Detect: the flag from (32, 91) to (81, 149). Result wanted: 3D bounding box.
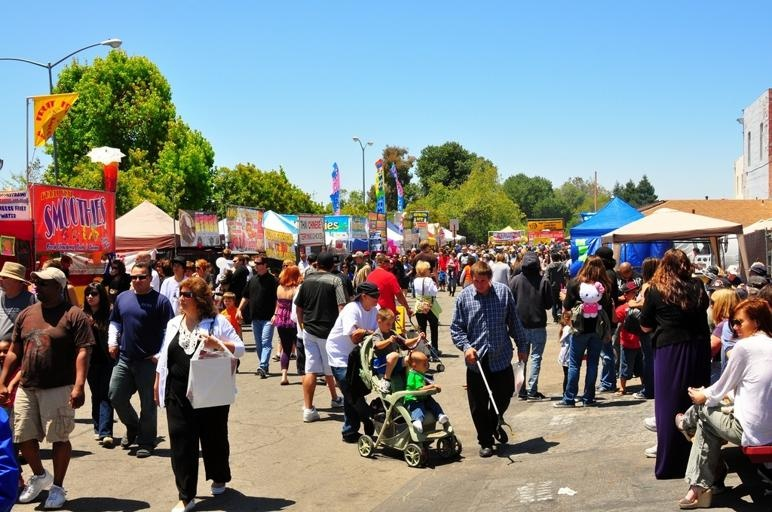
[{"bbox_3d":[-8.863,-3.705,19.531,1.461,1.362,0.251,-9,-5,4],"label":"flag"}]

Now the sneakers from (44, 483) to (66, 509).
[{"bbox_3d":[-3.844,2.805,8.411,0.137,0.139,0.344,2,-5,-14],"label":"sneakers"}]

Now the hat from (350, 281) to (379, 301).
[{"bbox_3d":[-0.273,0.519,10.709,0.283,0.159,0.222,10,1,10],"label":"hat"}]

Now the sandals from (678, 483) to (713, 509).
[{"bbox_3d":[3.319,2.572,7.814,0.353,0.222,0.192,1,-2,3],"label":"sandals"}]

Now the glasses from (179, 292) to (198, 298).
[{"bbox_3d":[-2.321,0.455,8.460,0.147,0.070,0.045,-1,6,6],"label":"glasses"}]

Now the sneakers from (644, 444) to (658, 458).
[{"bbox_3d":[3.343,2.451,9.150,0.099,0.100,0.217,8,1,4],"label":"sneakers"}]

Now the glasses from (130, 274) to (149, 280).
[{"bbox_3d":[-3.374,0.293,9.854,0.264,0.085,0.124,1,6,29],"label":"glasses"}]

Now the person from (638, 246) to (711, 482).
[{"bbox_3d":[3.553,1.332,8.901,0.843,2.688,0.927,2,-8,-9],"label":"person"}]

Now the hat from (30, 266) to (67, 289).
[{"bbox_3d":[-4.025,0.300,8.738,0.380,0.211,0.255,29,-10,-41],"label":"hat"}]

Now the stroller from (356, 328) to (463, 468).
[{"bbox_3d":[0.292,1.969,10.163,0.943,1.618,1.293,-2,1,-44],"label":"stroller"}]

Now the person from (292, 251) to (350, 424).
[{"bbox_3d":[-1.051,1.281,11.847,0.918,2.611,0.877,0,2,-12],"label":"person"}]

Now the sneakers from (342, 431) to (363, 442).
[{"bbox_3d":[-0.513,2.657,10.695,0.346,0.162,0.127,-9,-7,34],"label":"sneakers"}]

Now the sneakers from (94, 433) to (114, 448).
[{"bbox_3d":[-4.005,2.619,10.304,0.131,0.152,0.350,3,-6,-28],"label":"sneakers"}]

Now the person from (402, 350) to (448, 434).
[{"bbox_3d":[0.540,1.851,9.903,0.576,1.066,0.631,-3,6,-9],"label":"person"}]

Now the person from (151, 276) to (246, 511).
[{"bbox_3d":[-2.201,1.591,8.494,0.940,2.656,0.634,-4,6,-20],"label":"person"}]

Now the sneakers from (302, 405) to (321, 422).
[{"bbox_3d":[-1.178,2.490,11.456,0.126,0.135,0.309,2,6,15],"label":"sneakers"}]

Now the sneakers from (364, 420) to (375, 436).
[{"bbox_3d":[-0.226,2.427,10.289,0.182,0.210,0.199,0,-20,1],"label":"sneakers"}]

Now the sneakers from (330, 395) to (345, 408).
[{"bbox_3d":[-0.817,2.446,12.257,0.116,0.131,0.305,3,6,21],"label":"sneakers"}]

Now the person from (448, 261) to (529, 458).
[{"bbox_3d":[1.406,1.390,9.915,0.980,2.597,0.593,-1,6,6],"label":"person"}]
